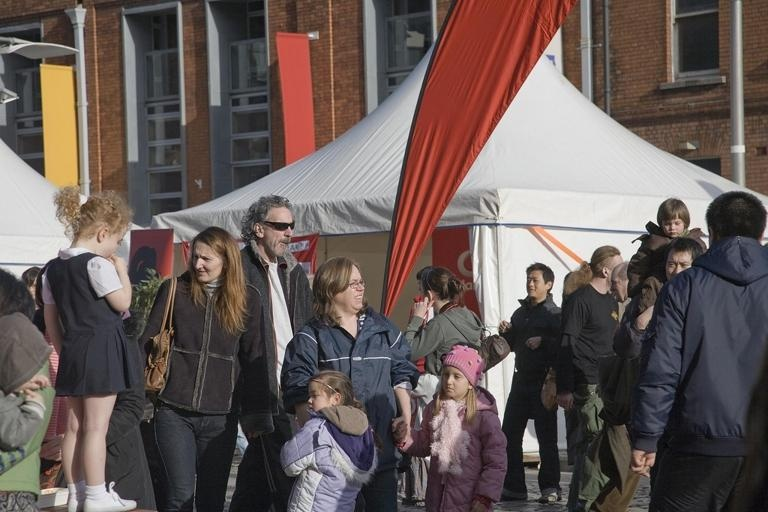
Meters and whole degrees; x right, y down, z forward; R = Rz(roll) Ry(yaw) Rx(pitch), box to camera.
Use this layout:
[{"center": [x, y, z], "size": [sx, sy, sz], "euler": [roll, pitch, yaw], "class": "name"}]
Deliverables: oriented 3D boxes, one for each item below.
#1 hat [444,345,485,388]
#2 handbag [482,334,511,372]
[{"center": [0.929, 1.272, 18.884], "size": [0.441, 0.457, 0.210], "euler": [2, -4, 1], "class": "hat"}, {"center": [1.412, 1.250, 20.817], "size": [0.334, 0.438, 0.168], "euler": [32, 1, 15], "class": "handbag"}]
